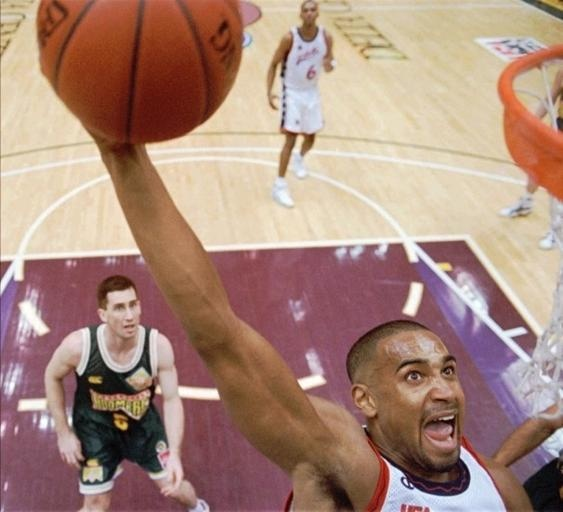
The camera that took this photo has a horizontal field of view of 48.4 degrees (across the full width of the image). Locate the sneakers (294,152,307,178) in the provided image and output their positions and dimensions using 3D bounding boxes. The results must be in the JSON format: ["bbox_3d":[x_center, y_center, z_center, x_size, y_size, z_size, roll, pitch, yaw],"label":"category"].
[{"bbox_3d":[0.150,-0.732,5.006,0.067,0.089,0.231,-7,76,-6],"label":"sneakers"}]

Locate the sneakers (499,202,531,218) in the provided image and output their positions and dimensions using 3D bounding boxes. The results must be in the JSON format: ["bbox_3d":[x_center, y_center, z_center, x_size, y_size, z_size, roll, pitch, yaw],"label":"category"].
[{"bbox_3d":[1.709,-0.333,4.529,0.237,0.116,0.100,-7,57,5],"label":"sneakers"}]
